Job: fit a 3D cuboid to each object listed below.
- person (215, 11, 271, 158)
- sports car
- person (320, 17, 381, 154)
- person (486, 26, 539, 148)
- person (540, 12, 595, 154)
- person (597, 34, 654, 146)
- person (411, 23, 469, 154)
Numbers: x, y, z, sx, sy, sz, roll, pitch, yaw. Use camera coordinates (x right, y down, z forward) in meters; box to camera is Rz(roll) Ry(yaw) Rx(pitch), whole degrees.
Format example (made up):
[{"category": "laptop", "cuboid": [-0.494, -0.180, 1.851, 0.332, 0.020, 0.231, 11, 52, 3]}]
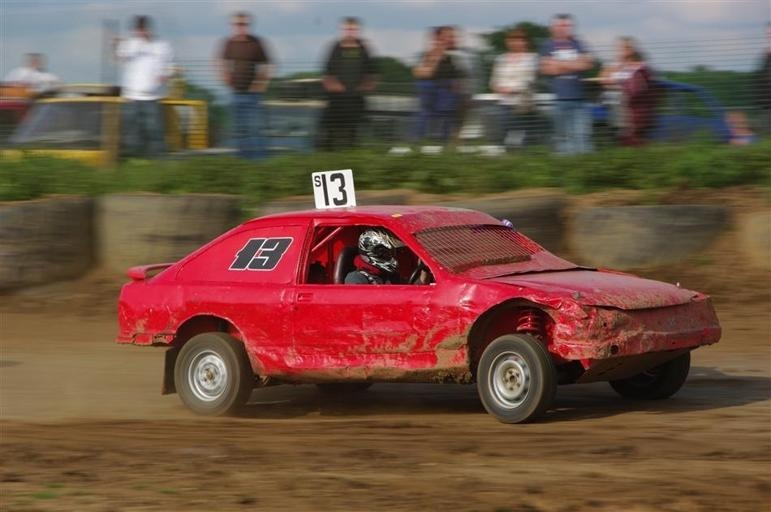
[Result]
[{"category": "person", "cuboid": [-2.074, -2.408, 15.471, 0.785, 1.893, 0.199, -7, 20, 1]}, {"category": "sports car", "cuboid": [0.162, 0.570, 10.128, 5.489, 1.999, 1.503, 1, 17, 16]}, {"category": "person", "cuboid": [-0.616, -2.408, 15.233, 1.029, 1.713, 0.354, -6, 20, 1]}, {"category": "person", "cuboid": [1.901, -2.470, 15.008, 0.705, 1.755, 0.197, -6, 20, 4]}, {"category": "person", "cuboid": [2.662, -2.462, 14.901, 0.789, 2.035, 0.170, -6, 20, 5]}, {"category": "person", "cuboid": [3.534, -2.364, 14.860, 0.833, 1.588, 0.186, -6, 20, 4]}, {"category": "person", "cuboid": [0.763, -2.478, 15.119, 0.862, 1.772, 0.276, -5, 20, 6]}]
